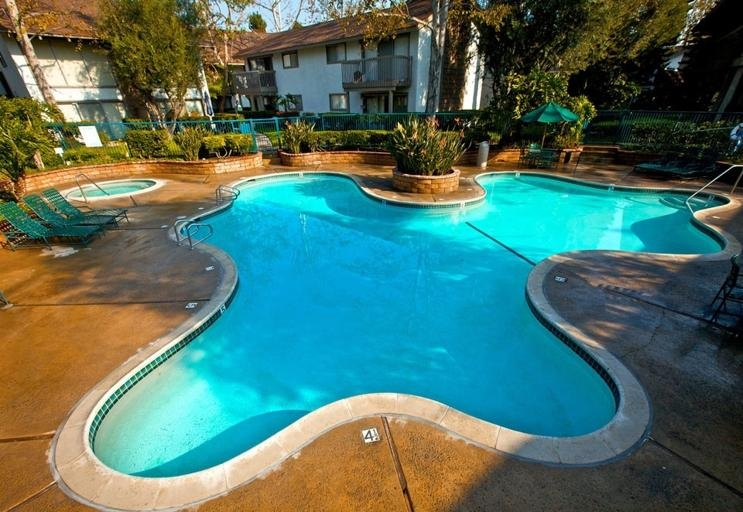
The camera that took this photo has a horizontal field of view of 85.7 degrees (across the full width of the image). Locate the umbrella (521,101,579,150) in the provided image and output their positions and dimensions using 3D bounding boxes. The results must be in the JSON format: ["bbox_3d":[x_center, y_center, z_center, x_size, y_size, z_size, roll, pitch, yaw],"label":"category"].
[{"bbox_3d":[7.307,-5.785,16.729,1.916,1.487,1.879,-2,28,7],"label":"umbrella"}]

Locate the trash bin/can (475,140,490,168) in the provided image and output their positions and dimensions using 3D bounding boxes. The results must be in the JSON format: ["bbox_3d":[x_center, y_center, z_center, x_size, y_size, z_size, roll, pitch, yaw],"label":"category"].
[{"bbox_3d":[5.220,-4.788,18.747,0.519,1.140,1.158,8,27,13],"label":"trash bin/can"}]

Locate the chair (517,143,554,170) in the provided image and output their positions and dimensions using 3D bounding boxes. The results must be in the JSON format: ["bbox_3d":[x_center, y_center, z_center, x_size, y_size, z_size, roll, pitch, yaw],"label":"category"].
[{"bbox_3d":[7.727,-4.437,18.472,1.165,1.549,1.293,-18,29,-33],"label":"chair"}]
